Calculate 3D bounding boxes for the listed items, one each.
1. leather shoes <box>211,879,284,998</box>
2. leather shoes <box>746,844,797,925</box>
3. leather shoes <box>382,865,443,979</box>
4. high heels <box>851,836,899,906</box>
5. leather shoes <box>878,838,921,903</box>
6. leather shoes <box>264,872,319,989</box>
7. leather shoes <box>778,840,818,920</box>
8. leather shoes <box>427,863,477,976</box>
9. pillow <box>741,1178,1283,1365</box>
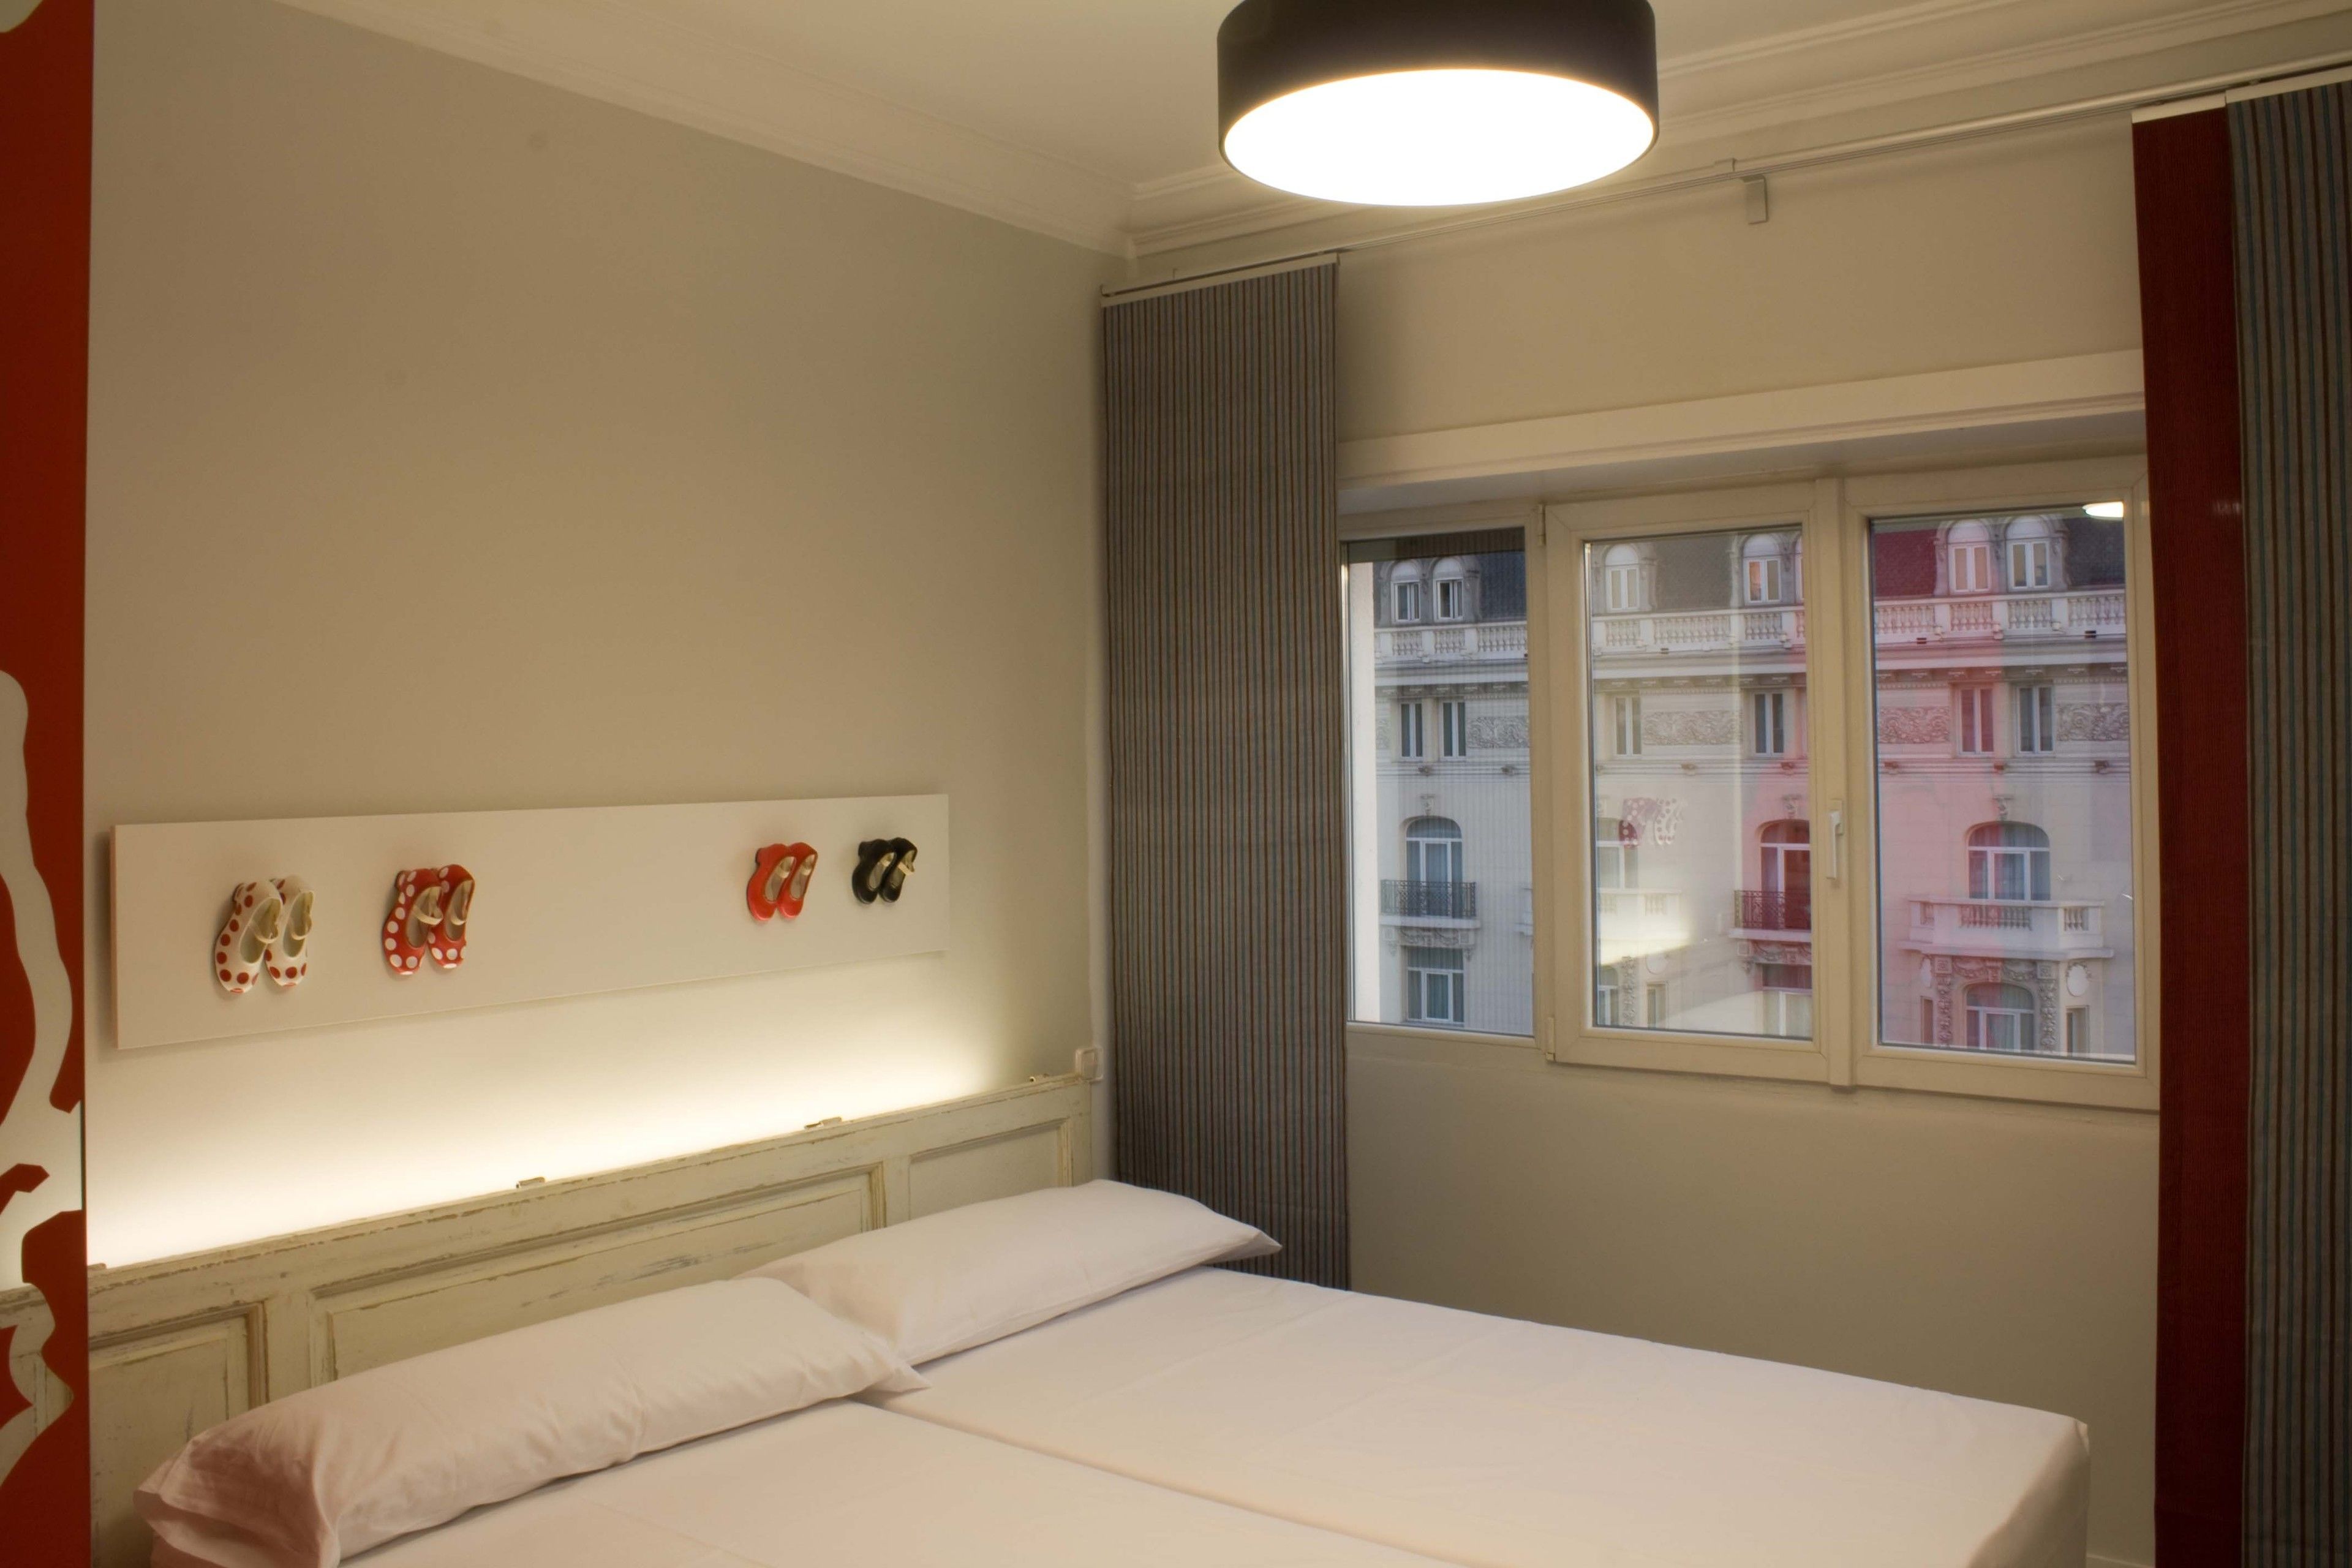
[{"bbox_3d":[-1.777,0.297,2.998,0.083,0.207,0.106,3,-2,32],"label":"leather shoes"},{"bbox_3d":[-0.970,0.234,3.737,0.052,0.165,0.100,1,3,39],"label":"leather shoes"},{"bbox_3d":[-1.564,0.283,3.199,0.088,0.219,0.096,3,-2,27],"label":"leather shoes"},{"bbox_3d":[-0.755,0.221,3.946,0.055,0.158,0.109,4,-4,41],"label":"high heels"},{"bbox_3d":[-0.703,0.221,3.949,0.097,0.154,0.061,2,13,-38],"label":"leather shoes"},{"bbox_3d":[-1.727,0.288,3.052,0.077,0.202,0.076,4,4,32],"label":"leather shoes"},{"bbox_3d":[-0.918,0.234,3.781,0.056,0.163,0.088,12,4,20],"label":"leather shoes"},{"bbox_3d":[-1.499,0.276,3.243,0.080,0.215,0.072,2,0,32],"label":"leather shoes"},{"bbox_3d":[-0.351,1.076,3.546,0.401,0.113,0.671,9,3,39],"label":"pillow"}]
